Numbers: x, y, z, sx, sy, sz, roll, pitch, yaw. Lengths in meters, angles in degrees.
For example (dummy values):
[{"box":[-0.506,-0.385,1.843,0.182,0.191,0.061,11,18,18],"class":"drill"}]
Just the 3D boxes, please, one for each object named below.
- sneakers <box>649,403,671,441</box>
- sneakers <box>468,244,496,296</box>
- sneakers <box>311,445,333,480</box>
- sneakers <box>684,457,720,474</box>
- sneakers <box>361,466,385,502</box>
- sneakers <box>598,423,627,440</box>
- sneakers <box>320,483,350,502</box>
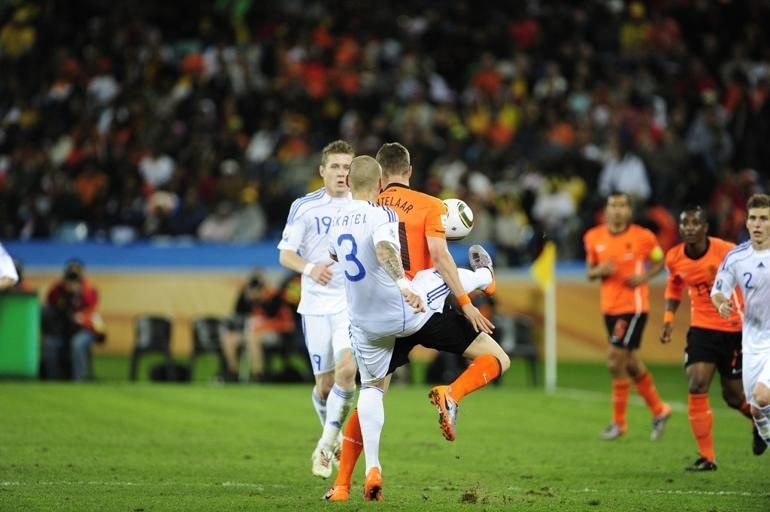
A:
[{"box":[4.019,2.389,15.393,0.242,0.206,0.593,29,-44,4],"class":"sneakers"},{"box":[1.195,0.109,12.914,0.218,0.699,0.283,-18,-9,18],"class":"sneakers"},{"box":[-0.764,2.552,13.160,0.256,0.275,0.608,20,11,-15],"class":"sneakers"},{"box":[4.074,2.711,13.616,0.439,0.206,0.169,2,-4,-2],"class":"sneakers"},{"box":[-0.128,2.646,12.294,0.214,0.397,0.203,1,3,-2],"class":"sneakers"},{"box":[3.289,2.538,15.290,0.162,0.209,0.462,-1,-1,45],"class":"sneakers"},{"box":[-0.595,2.784,12.401,0.359,0.164,0.133,-3,1,38],"class":"sneakers"}]
